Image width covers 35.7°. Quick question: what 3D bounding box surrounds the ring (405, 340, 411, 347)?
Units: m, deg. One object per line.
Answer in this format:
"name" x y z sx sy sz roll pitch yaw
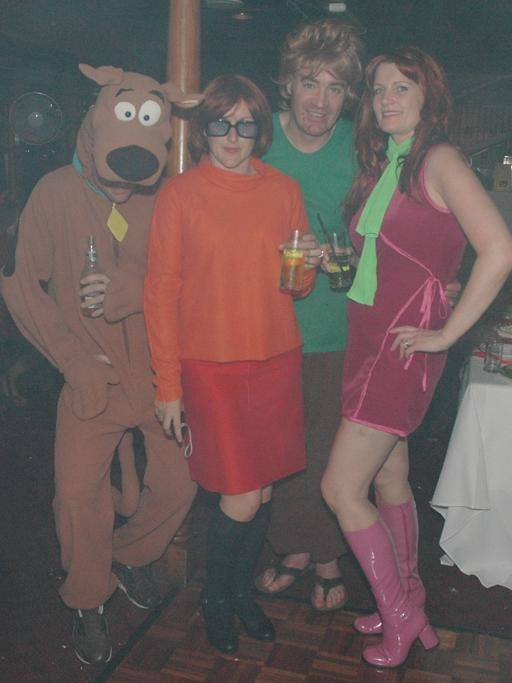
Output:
"ring" 0.372 0.006 1.948 0.018 0.025 0.013 2 4 9

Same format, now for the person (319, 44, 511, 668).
"person" 0.385 0.152 2.108 0.387 1.675 0.705 4 30 6

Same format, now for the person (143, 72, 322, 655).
"person" -0.075 0.081 2.112 0.429 1.419 0.672 5 30 7

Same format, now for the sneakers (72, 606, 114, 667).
"sneakers" -0.442 0.798 2.148 0.067 0.072 0.190 -6 71 -12

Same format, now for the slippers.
"slippers" 0.139 0.767 2.476 0.166 0.044 0.204 6 13 25

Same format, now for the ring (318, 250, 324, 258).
"ring" 0.177 -0.237 2.165 0.016 0.009 0.024 -7 58 25

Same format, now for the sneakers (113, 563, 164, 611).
"sneakers" -0.351 0.710 2.346 0.096 0.171 0.044 -24 20 -26

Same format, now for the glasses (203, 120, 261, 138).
"glasses" -0.058 -0.524 1.965 0.121 0.051 0.025 1 30 -2
